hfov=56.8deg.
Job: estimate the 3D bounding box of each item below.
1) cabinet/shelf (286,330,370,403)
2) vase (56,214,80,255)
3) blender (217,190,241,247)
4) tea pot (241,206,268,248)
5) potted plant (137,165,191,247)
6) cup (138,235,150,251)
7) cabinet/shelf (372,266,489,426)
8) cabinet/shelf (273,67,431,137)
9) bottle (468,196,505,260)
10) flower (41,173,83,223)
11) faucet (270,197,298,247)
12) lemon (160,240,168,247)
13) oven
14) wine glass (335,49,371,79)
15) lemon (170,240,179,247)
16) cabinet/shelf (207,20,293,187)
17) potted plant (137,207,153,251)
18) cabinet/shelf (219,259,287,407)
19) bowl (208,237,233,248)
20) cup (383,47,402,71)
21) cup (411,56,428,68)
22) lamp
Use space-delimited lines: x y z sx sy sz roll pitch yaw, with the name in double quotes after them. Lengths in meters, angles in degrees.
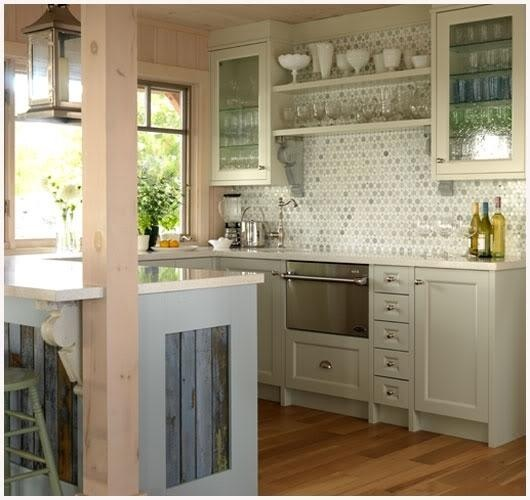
0.500 0.814 3.769 0.641 0.449 0.376 3 8 23 "cabinet/shelf"
-1.560 -0.133 3.901 0.185 0.327 0.502 1 -2 -23 "vase"
-0.338 -0.315 4.844 0.219 0.569 0.374 0 -2 -6 "blender"
-0.146 -0.188 4.722 0.172 0.273 0.166 2 19 -1 "tea pot"
-1.048 -0.373 4.762 0.369 0.651 0.468 7 -4 -4 "potted plant"
-1.016 -0.066 4.081 0.129 0.132 0.124 -1 2 0 "cup"
1.223 0.585 3.341 0.595 1.299 0.767 2 3 42 "cabinet/shelf"
0.739 -1.260 4.135 1.317 0.434 0.379 2 22 27 "cabinet/shelf"
1.521 -0.152 3.366 0.238 0.422 0.363 -1 -2 24 "bottle"
-1.651 -0.440 3.979 0.283 0.403 0.611 1 -2 -23 "flower"
0.209 -0.287 4.729 0.245 0.533 0.206 0 -38 0 "faucet"
-0.898 -0.066 4.337 0.055 0.060 0.055 2 -1 -37 "lemon"
0.517 0.304 3.751 0.702 0.534 0.553 2 13 22 "oven"
0.707 -1.515 3.967 0.222 0.180 0.216 0 4 22 "wine glass"
-0.804 -0.064 4.332 0.058 0.065 0.059 -1 -1 -36 "lemon"
-0.190 -1.299 4.682 0.658 1.357 0.401 1 1 20 "cabinet/shelf"
-1.058 -0.139 4.364 0.132 0.277 0.156 11 -12 -41 "potted plant"
-0.054 0.559 3.967 0.146 1.022 0.582 2 -3 -42 "cabinet/shelf"
-0.415 -0.062 4.434 0.114 0.054 0.138 2 -5 -41 "bowl"
0.963 -1.463 3.745 0.134 0.160 0.148 0 1 7 "cup"
1.127 -1.381 3.573 0.098 0.071 0.104 -1 8 0 "cup"
-0.859 -0.800 2.048 0.376 0.515 0.194 -2 -3 42 "lamp"
